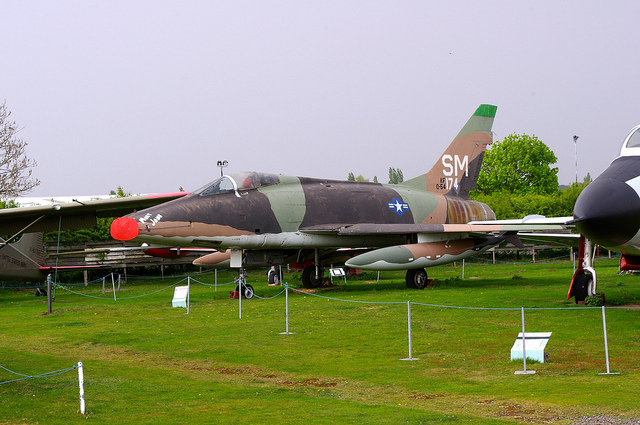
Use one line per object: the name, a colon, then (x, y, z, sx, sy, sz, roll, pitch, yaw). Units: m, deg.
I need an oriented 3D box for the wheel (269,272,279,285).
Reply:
wheel: (-2.051, 2.988, 30.368, 0.304, 0.542, 0.642, 1, -9, 10)

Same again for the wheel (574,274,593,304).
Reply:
wheel: (7.833, 2.273, 19.832, 0.548, 0.798, 1.054, -5, 6, 24)

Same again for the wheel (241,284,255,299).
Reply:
wheel: (-2.637, 2.902, 24.595, 0.432, 0.511, 0.412, 0, -5, 0)

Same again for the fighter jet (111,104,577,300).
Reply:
fighter jet: (0.121, 0.351, 26.199, 13.719, 3.619, 11.006, 0, -1, -38)
